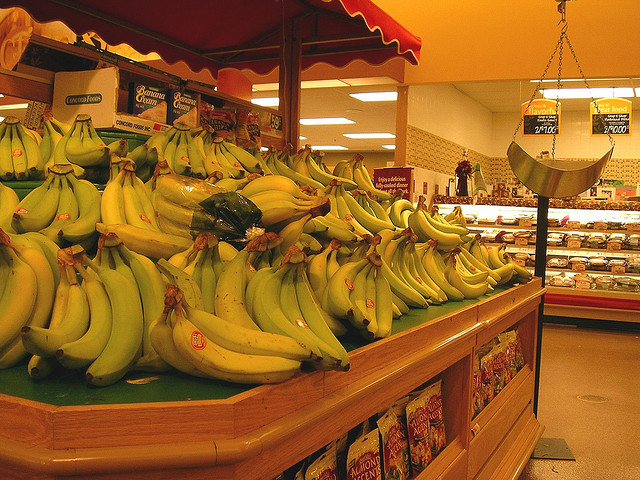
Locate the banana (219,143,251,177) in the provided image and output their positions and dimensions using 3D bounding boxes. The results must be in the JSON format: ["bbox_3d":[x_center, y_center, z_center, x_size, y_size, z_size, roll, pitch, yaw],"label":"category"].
[{"bbox_3d":[-0.359,-0.333,1.929,0.044,0.217,0.075,-27,-21,-15],"label":"banana"}]

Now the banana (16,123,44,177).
[{"bbox_3d":[-1.192,-0.368,1.922,0.060,0.315,0.103,-14,-23,-14],"label":"banana"}]

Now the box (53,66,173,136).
[{"bbox_3d":[-1.177,-0.720,2.419,0.603,0.350,0.261,2,4,16],"label":"box"}]

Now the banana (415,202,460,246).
[{"bbox_3d":[0.606,-0.081,2.360,0.224,0.219,0.123,2,4,16],"label":"banana"}]

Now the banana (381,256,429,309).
[{"bbox_3d":[0.335,0.174,1.828,0.048,0.206,0.072,-39,-5,25],"label":"banana"}]

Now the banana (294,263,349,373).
[{"bbox_3d":[0.007,0.215,1.226,0.049,0.269,0.088,-27,-15,6],"label":"banana"}]

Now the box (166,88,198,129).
[{"bbox_3d":[-0.796,-0.751,2.662,0.076,0.222,0.227,14,15,27],"label":"box"}]

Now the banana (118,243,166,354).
[{"bbox_3d":[-0.427,0.119,1.148,0.077,0.359,0.122,-12,-15,-4],"label":"banana"}]

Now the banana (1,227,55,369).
[{"bbox_3d":[-0.710,0.140,1.160,0.199,0.282,0.072,2,-3,40],"label":"banana"}]

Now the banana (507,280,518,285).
[{"bbox_3d":[1.197,0.262,2.842,0.046,0.023,0.130,3,5,32],"label":"banana"}]

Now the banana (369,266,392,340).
[{"bbox_3d":[0.199,0.192,1.484,0.055,0.266,0.085,2,-23,-3],"label":"banana"}]

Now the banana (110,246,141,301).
[{"bbox_3d":[-0.483,0.088,1.141,0.031,0.124,0.041,-27,-6,28],"label":"banana"}]

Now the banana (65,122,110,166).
[{"bbox_3d":[-0.927,-0.384,1.808,0.116,0.191,0.293,-2,5,-39],"label":"banana"}]

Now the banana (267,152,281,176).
[{"bbox_3d":[-0.226,-0.352,2.233,0.029,0.157,0.052,0,-25,-28],"label":"banana"}]

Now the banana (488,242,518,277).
[{"bbox_3d":[1.081,0.107,2.809,0.135,0.091,0.421,2,21,0],"label":"banana"}]

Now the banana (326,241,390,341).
[{"bbox_3d":[0.124,0.168,1.457,0.154,0.117,0.302,16,47,-18],"label":"banana"}]

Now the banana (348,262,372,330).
[{"bbox_3d":[0.117,0.201,1.403,0.042,0.079,0.212,-16,14,9],"label":"banana"}]

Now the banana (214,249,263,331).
[{"bbox_3d":[-0.223,0.124,1.221,0.070,0.274,0.092,-35,-41,24],"label":"banana"}]

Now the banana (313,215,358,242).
[{"bbox_3d":[0.056,-0.040,1.752,0.125,0.043,0.036,29,32,-9],"label":"banana"}]

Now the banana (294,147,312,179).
[{"bbox_3d":[-0.088,-0.387,2.338,0.066,0.053,0.206,-1,45,5],"label":"banana"}]

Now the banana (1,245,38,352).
[{"bbox_3d":[-0.726,0.138,1.108,0.072,0.244,0.098,-2,5,-34],"label":"banana"}]

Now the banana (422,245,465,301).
[{"bbox_3d":[0.574,0.161,2.148,0.050,0.241,0.082,-37,-25,31],"label":"banana"}]

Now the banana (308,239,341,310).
[{"bbox_3d":[0.031,0.099,1.514,0.067,0.094,0.271,24,44,-18],"label":"banana"}]

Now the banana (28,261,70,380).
[{"bbox_3d":[-0.637,0.195,1.078,0.046,0.246,0.079,-11,-27,21],"label":"banana"}]

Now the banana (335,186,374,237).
[{"bbox_3d":[0.154,-0.122,2.046,0.044,0.240,0.080,-13,-18,-12],"label":"banana"}]

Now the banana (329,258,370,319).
[{"bbox_3d":[0.096,0.143,1.405,0.050,0.082,0.228,28,24,2],"label":"banana"}]

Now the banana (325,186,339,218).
[{"bbox_3d":[0.058,-0.171,2.027,0.057,0.138,0.145,1,4,1],"label":"banana"}]

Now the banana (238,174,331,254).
[{"bbox_3d":[-0.105,-0.090,1.483,0.139,0.194,0.312,13,-3,-44],"label":"banana"}]

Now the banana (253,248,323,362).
[{"bbox_3d":[-0.097,0.169,1.117,0.101,0.169,0.414,13,23,-13],"label":"banana"}]

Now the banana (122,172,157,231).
[{"bbox_3d":[-0.586,-0.118,1.492,0.036,0.194,0.069,-20,-8,-7],"label":"banana"}]

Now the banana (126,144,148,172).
[{"bbox_3d":[-0.681,-0.311,1.704,0.049,0.068,0.184,27,-27,-13],"label":"banana"}]

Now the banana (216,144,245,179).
[{"bbox_3d":[-0.370,-0.320,1.896,0.044,0.080,0.228,-9,50,-18],"label":"banana"}]

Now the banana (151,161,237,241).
[{"bbox_3d":[-0.432,-0.148,1.466,0.184,0.111,0.256,8,19,-32],"label":"banana"}]

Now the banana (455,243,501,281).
[{"bbox_3d":[0.891,0.095,2.625,0.215,0.075,0.208,40,-10,-33],"label":"banana"}]

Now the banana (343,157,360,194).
[{"bbox_3d":[0.164,-0.374,2.566,0.063,0.255,0.085,-10,-37,33],"label":"banana"}]

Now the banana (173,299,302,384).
[{"bbox_3d":[-0.174,0.218,1.008,0.302,0.211,0.094,13,40,-5],"label":"banana"}]

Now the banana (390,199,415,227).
[{"bbox_3d":[0.429,-0.155,2.429,0.042,0.142,0.151,-2,41,47],"label":"banana"}]

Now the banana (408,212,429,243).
[{"bbox_3d":[0.506,-0.058,2.416,0.048,0.161,0.128,-10,44,16],"label":"banana"}]

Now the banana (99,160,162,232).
[{"bbox_3d":[-0.587,-0.126,1.449,0.157,0.117,0.279,10,39,-35],"label":"banana"}]

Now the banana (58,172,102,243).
[{"bbox_3d":[-0.767,-0.097,1.461,0.116,0.069,0.230,11,37,-27],"label":"banana"}]

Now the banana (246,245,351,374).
[{"bbox_3d":[-0.069,0.205,1.253,0.186,0.175,0.407,-9,50,-27],"label":"banana"}]

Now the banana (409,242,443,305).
[{"bbox_3d":[0.470,0.157,2.045,0.042,0.255,0.087,-18,-12,-29],"label":"banana"}]

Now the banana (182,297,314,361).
[{"bbox_3d":[-0.174,0.212,1.072,0.296,0.130,0.063,14,6,3],"label":"banana"}]

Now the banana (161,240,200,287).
[{"bbox_3d":[-0.370,0.067,1.221,0.043,0.039,0.130,12,44,37],"label":"banana"}]

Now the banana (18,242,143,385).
[{"bbox_3d":[-0.532,0.200,1.127,0.199,0.189,0.359,-5,31,-2],"label":"banana"}]

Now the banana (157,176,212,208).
[{"bbox_3d":[-0.420,-0.141,1.405,0.123,0.043,0.094,28,15,36],"label":"banana"}]
